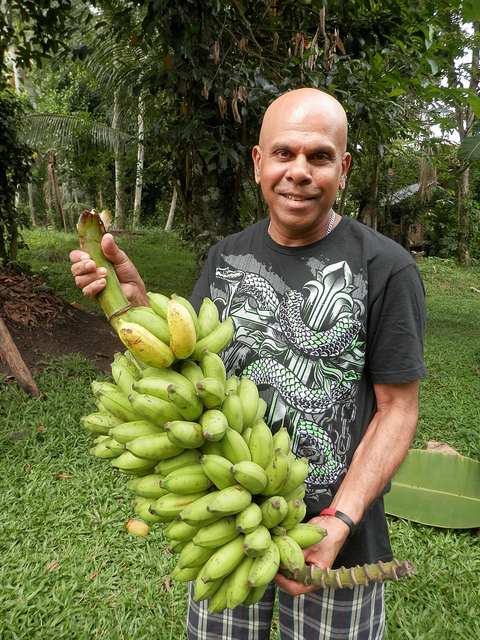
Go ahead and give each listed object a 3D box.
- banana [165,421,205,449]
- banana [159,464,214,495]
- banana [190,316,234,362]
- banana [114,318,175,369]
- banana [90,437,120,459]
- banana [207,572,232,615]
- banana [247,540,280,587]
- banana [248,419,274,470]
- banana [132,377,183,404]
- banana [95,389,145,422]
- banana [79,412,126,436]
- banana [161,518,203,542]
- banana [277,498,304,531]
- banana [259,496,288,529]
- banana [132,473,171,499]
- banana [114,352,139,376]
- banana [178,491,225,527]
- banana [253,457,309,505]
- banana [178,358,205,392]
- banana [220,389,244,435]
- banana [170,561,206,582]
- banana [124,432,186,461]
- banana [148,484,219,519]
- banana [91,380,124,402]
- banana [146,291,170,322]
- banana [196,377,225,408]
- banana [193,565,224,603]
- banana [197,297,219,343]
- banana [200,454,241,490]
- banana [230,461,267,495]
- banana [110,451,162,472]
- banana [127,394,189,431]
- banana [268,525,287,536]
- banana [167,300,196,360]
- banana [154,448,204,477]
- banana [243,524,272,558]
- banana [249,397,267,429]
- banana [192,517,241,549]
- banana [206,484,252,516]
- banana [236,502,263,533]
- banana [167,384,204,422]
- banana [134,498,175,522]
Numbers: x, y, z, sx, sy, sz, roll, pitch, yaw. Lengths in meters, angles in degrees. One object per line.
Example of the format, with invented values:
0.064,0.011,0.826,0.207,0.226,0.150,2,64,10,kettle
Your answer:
-0.147,0.306,1.384,0.054,0.059,0.110,-8,-14,17,banana
-0.144,0.440,1.422,0.149,0.066,0.054,-1,-21,-33,banana
-0.062,0.055,1.673,0.078,0.065,0.216,-25,23,47,banana
-0.272,0.073,1.483,0.090,0.184,0.061,-48,-1,-28,banana
-0.434,0.415,1.638,0.108,0.061,0.034,-5,6,15,banana
-0.057,0.790,1.478,0.043,0.139,0.049,30,38,-9,banana
0.068,0.652,1.358,0.069,0.045,0.118,33,24,9,banana
0.061,0.357,1.476,0.071,0.134,0.050,-11,-3,23,banana
-0.247,0.193,1.469,0.161,0.066,0.048,-3,-11,13,banana
-0.356,0.254,1.542,0.172,0.047,0.061,24,13,20,banana
-0.446,0.324,1.670,0.212,0.072,0.060,-5,37,38,banana
-0.191,0.611,1.511,0.172,0.054,0.059,-17,30,35,banana
0.149,0.545,1.442,0.058,0.032,0.099,4,-35,4,banana
0.086,0.527,1.399,0.056,0.040,0.150,-39,-14,-30,banana
-0.262,0.485,1.493,0.120,0.061,0.042,-21,-4,3,banana
-0.374,0.135,1.671,0.040,0.036,0.125,-16,44,-32,banana
-0.110,0.504,1.373,0.136,0.061,0.046,-19,-19,-1,banana
0.125,0.504,1.567,0.087,0.066,0.250,-3,-34,-18,banana
-0.150,0.171,1.580,0.042,0.045,0.134,-15,21,-11,banana
-0.018,0.266,1.492,0.047,0.141,0.047,0,37,13,banana
-0.168,0.771,1.580,0.058,0.044,0.162,-46,1,-35,banana
-0.229,0.344,1.453,0.222,0.060,0.074,-2,-22,-20,banana
-0.152,0.499,1.418,0.218,0.060,0.077,-17,0,5,banana
-0.455,0.218,1.681,0.044,0.053,0.154,-13,20,-40,banana
-0.262,-0.054,1.656,0.042,0.047,0.131,-15,49,-20,banana
-0.088,0.207,1.474,0.059,0.091,0.053,-23,25,28,banana
-0.108,0.751,1.474,0.056,0.154,0.053,43,41,22,banana
-0.104,0.003,1.705,0.090,0.047,0.176,-17,38,14,banana
-0.057,0.413,1.402,0.063,0.124,0.048,-46,11,6,banana
0.028,0.427,1.440,0.070,0.111,0.062,-37,23,33,banana
-0.311,0.415,1.487,0.183,0.055,0.060,1,19,-6,banana
-0.240,0.249,1.484,0.209,0.059,0.072,29,-42,-16,banana
0.107,0.594,1.450,0.020,0.023,0.071,-7,-18,-20,banana
-0.164,0.028,1.492,0.083,0.154,0.066,-18,4,10,banana
-0.173,0.401,1.465,0.143,0.070,0.045,-15,-30,-24,banana
0.048,0.583,1.353,0.053,0.055,0.088,28,-28,9,banana
0.058,0.291,1.635,0.039,0.103,0.029,10,-18,7,banana
-0.061,0.576,1.394,0.191,0.053,0.060,-7,18,-4,banana
-0.026,0.489,1.378,0.063,0.069,0.148,8,10,32,banana
0.027,0.532,1.379,0.047,0.047,0.076,27,14,0,banana
-0.150,0.235,1.444,0.049,0.128,0.125,9,11,36,banana
-0.267,0.582,1.558,0.085,0.033,0.130,-9,-1,-21,banana
